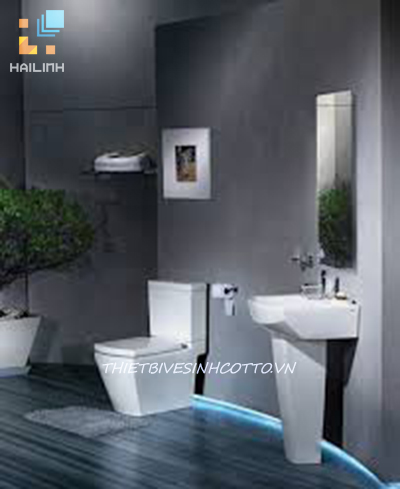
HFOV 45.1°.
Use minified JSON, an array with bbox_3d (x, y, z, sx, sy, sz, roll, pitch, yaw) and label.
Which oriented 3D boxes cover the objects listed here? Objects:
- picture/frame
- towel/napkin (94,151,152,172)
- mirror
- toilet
[{"bbox_3d":[-0.078,-0.550,3.224,0.475,0.559,0.039,5,8,40],"label":"picture/frame"},{"bbox_3d":[-0.582,-0.607,3.672,0.301,0.114,0.205,2,6,20],"label":"towel/napkin"},{"bbox_3d":[0.613,-0.298,2.216,0.010,0.759,0.431,3,9,37],"label":"mirror"},{"bbox_3d":[-0.498,0.664,3.302,0.875,1.026,0.569,2,-1,-41],"label":"toilet"}]
